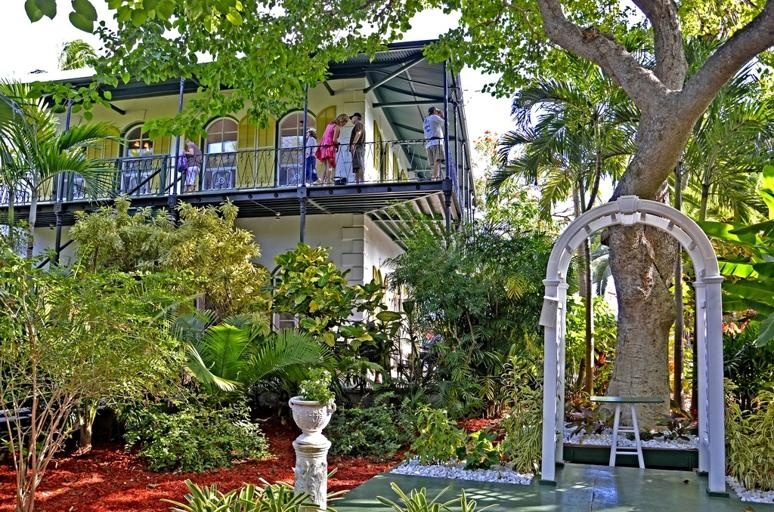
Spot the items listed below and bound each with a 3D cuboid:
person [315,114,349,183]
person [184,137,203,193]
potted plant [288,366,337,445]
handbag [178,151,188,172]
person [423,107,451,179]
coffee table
[{"bbox_3d":[-1.222,-2.458,16.115,0.651,2.014,1.440,1,-11,-2],"label":"person"},{"bbox_3d":[-4.503,-2.135,16.836,0.393,1.432,1.542,3,-11,-16],"label":"person"},{"bbox_3d":[-0.842,1.735,8.459,0.566,0.868,0.506,0,-22,23],"label":"potted plant"},{"bbox_3d":[-4.633,-2.089,16.505,0.235,0.522,0.591,4,-11,-17],"label":"handbag"},{"bbox_3d":[1.015,-2.434,15.446,0.427,1.932,0.880,-1,-10,5],"label":"person"},{"bbox_3d":[3.366,2.451,10.236,1.013,0.967,1.086,-1,-2,31],"label":"coffee table"}]
